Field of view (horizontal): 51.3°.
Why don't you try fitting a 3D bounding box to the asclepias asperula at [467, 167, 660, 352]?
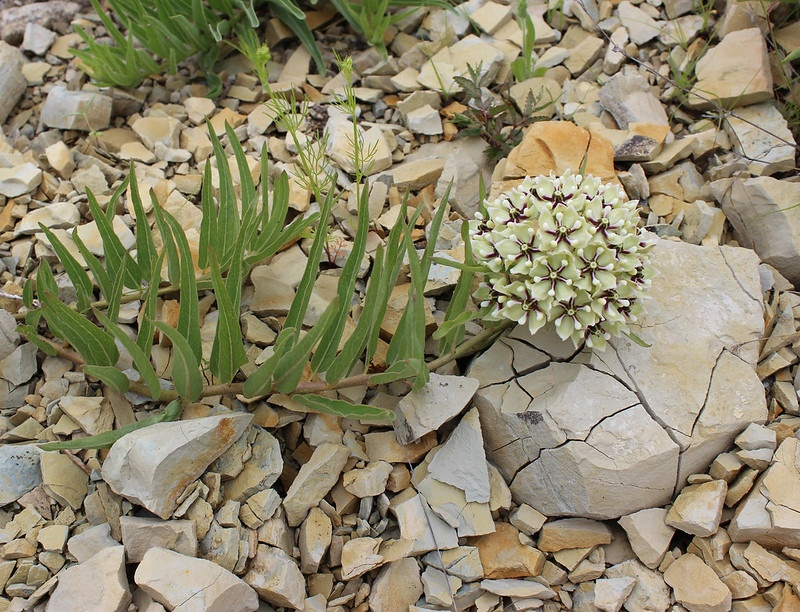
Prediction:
[{"bbox_3d":[0.578,-0.155,2.979,0.635,0.321,0.634,-5,79,7],"label":"asclepias asperula"}]
